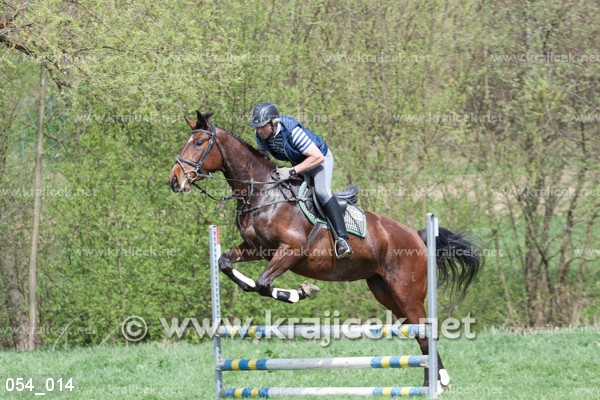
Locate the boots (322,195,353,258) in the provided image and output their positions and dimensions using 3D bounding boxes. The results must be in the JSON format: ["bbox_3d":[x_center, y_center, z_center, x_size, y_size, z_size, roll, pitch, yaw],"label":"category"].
[{"bbox_3d":[0.591,0.432,17.278,0.422,0.971,0.224,-2,-4,3],"label":"boots"}]

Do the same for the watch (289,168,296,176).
[{"bbox_3d":[-0.116,-0.426,17.251,0.076,0.117,0.108,1,6,-20],"label":"watch"}]

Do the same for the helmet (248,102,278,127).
[{"bbox_3d":[-0.572,-1.357,17.235,0.520,0.289,0.387,-24,29,-35],"label":"helmet"}]
